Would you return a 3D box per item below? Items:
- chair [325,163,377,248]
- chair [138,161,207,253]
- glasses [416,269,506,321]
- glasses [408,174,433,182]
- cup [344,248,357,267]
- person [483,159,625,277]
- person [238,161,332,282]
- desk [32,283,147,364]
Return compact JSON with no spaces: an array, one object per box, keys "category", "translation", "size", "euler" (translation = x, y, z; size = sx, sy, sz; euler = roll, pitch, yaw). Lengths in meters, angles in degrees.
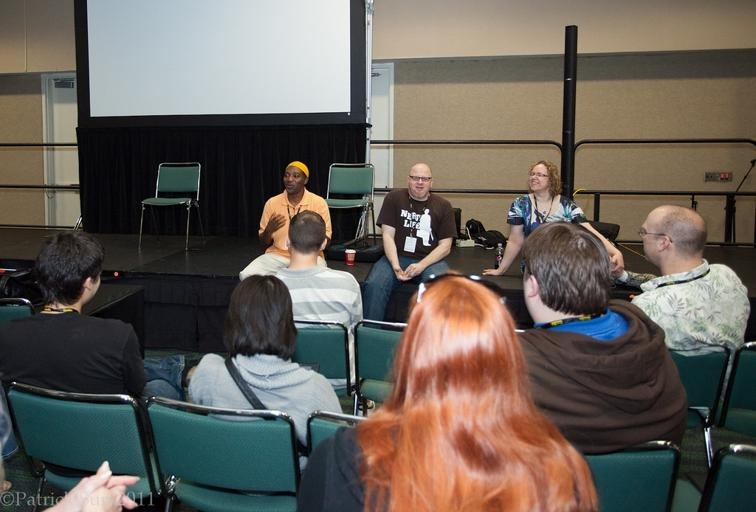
[{"category":"chair","translation":[-0.345,-0.480,6.245],"size":[0.541,0.935,0.679],"euler":[4,9,11]},{"category":"chair","translation":[-2.281,-0.584,6.642],"size":[0.711,0.894,0.685],"euler":[-3,10,-26]},{"category":"glasses","translation":[0.258,0.126,1.987],"size":[0.182,0.058,0.191],"euler":[6,-20,10]},{"category":"glasses","translation":[0.340,-0.632,4.914],"size":[0.181,0.053,0.105],"euler":[0,8,-6]},{"category":"cup","translation":[-0.267,0.023,5.417],"size":[0.119,0.121,0.123],"euler":[-2,4,0]},{"category":"person","translation":[1.417,-0.259,4.829],"size":[1.068,0.933,0.736],"euler":[2,20,28]},{"category":"person","translation":[-0.816,-0.223,5.375],"size":[0.817,1.214,0.740],"euler":[0,11,-16]},{"category":"desk","translation":[-1.730,0.286,3.731],"size":[0.345,0.634,0.662],"euler":[4,2,8]}]
